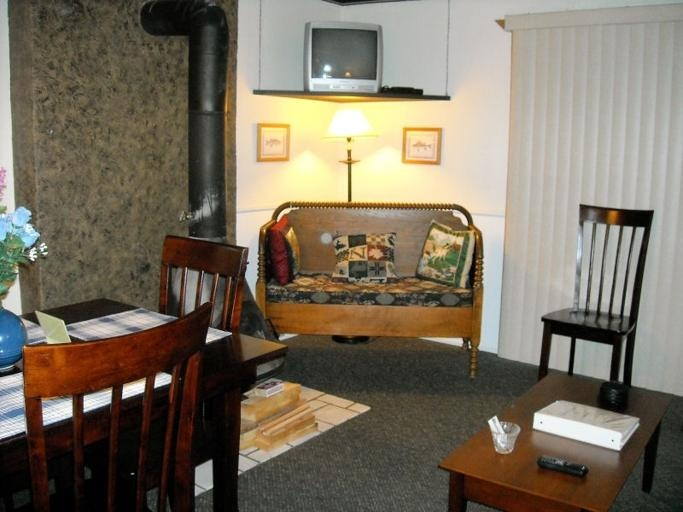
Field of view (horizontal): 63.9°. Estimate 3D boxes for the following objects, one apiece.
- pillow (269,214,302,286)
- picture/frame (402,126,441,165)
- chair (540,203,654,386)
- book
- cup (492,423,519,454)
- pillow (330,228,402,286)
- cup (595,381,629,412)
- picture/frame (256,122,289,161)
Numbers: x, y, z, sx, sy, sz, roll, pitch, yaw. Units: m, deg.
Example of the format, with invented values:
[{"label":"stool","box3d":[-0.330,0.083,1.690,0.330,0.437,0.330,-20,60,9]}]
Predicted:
[{"label":"pillow","box3d":[-0.453,-0.066,4.307,0.232,0.440,0.710,-7,15,3]},{"label":"picture/frame","box3d":[0.692,-0.941,4.635,0.326,0.280,0.022,8,14,34]},{"label":"chair","box3d":[1.689,0.323,3.657,0.566,1.287,0.818,8,15,29]},{"label":"book","box3d":[1.043,0.695,2.306,0.220,0.044,0.211,8,10,38]},{"label":"cup","box3d":[0.645,0.713,2.191,0.115,0.092,0.110,1,-1,0]},{"label":"pillow","box3d":[0.184,0.022,4.268,0.448,0.396,0.132,2,-22,-2]},{"label":"cup","box3d":[1.261,0.650,2.531,0.124,0.089,0.122,0,2,0]},{"label":"picture/frame","box3d":[-0.556,-0.918,4.432,0.020,0.303,0.340,15,19,41]}]
